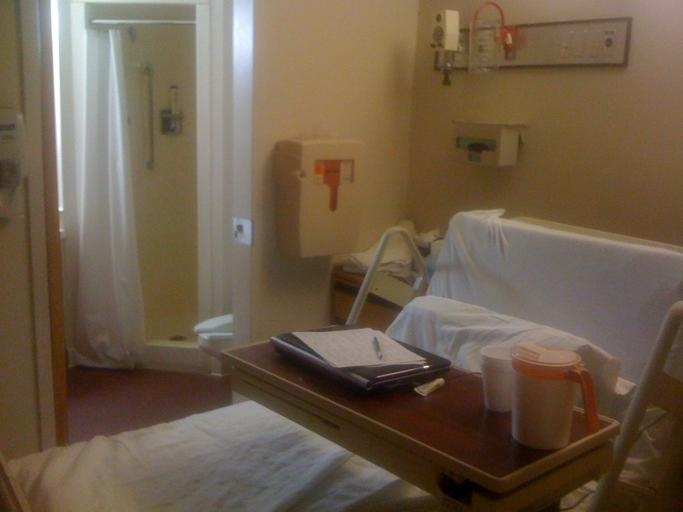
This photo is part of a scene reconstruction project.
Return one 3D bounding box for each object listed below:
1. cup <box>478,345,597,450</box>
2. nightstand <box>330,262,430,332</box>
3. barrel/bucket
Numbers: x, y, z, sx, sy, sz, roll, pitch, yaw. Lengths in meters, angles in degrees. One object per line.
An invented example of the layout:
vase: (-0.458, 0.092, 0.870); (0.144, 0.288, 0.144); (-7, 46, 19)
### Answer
cup: (0.479, 0.321, 1.469); (0.199, 0.223, 0.300); (-5, 9, -36)
nightstand: (0.136, 0.243, 3.287); (0.381, 0.374, 0.220); (6, 11, 6)
barrel/bucket: (0.519, 0.348, 1.357); (0.138, 0.228, 0.222); (-12, 12, -39)
